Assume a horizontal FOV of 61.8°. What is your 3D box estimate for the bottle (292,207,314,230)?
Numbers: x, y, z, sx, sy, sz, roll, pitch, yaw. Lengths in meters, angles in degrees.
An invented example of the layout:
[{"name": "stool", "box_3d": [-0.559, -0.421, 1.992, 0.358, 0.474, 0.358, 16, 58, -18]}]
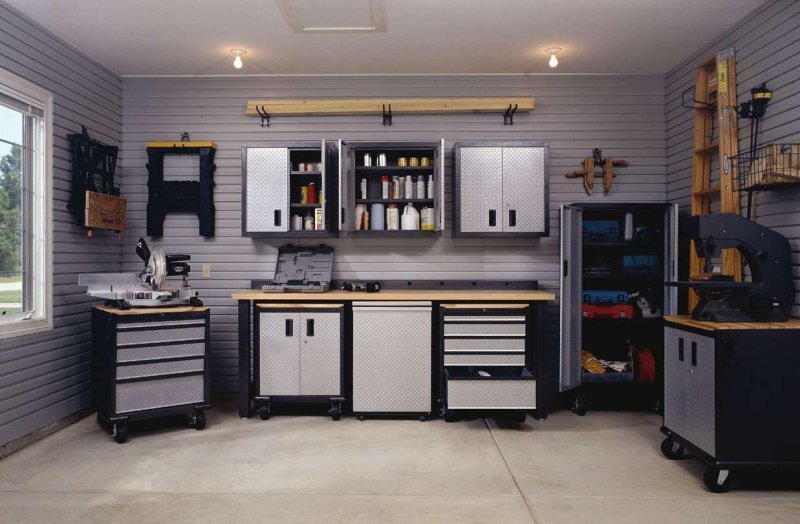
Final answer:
[{"name": "bottle", "box_3d": [-1.222, -0.550, 8.380, 0.310, 0.265, 0.158, 1, -9, -9]}]
